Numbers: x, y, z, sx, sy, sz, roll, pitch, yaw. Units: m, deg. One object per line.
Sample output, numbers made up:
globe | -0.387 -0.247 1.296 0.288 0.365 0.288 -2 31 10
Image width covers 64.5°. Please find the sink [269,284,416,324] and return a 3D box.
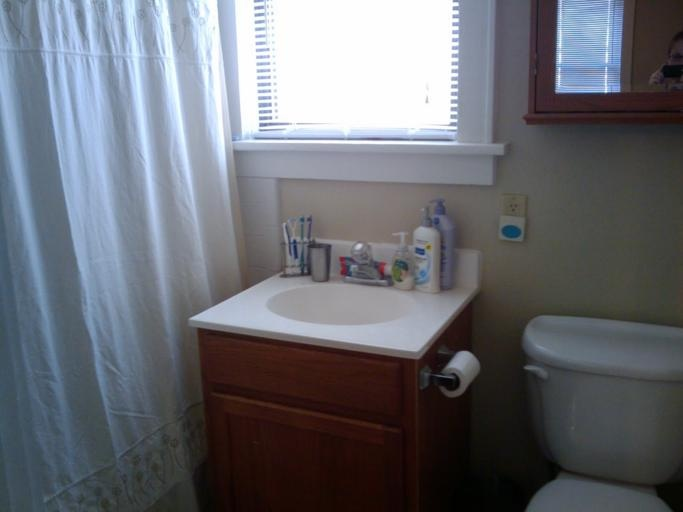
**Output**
sink | 0.001 0.173 1.817 0.466 0.121 0.163 -1 15 4

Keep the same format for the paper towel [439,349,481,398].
paper towel | 0.331 0.321 1.510 0.082 0.092 0.138 8 18 32

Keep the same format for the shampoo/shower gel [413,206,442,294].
shampoo/shower gel | 0.273 -0.024 1.784 0.096 0.281 0.052 11 16 42

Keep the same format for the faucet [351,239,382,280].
faucet | 0.087 0.037 1.903 0.109 0.091 0.185 -1 9 -11

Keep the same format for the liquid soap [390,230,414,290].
liquid soap | 0.205 0.013 1.807 0.086 0.188 0.054 9 18 36
